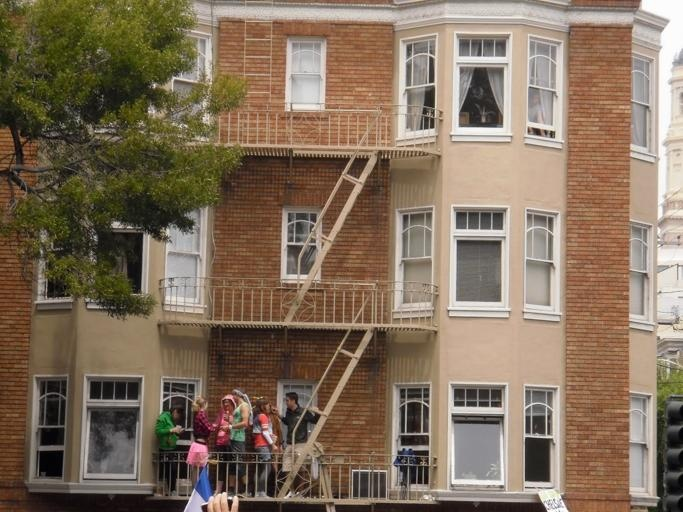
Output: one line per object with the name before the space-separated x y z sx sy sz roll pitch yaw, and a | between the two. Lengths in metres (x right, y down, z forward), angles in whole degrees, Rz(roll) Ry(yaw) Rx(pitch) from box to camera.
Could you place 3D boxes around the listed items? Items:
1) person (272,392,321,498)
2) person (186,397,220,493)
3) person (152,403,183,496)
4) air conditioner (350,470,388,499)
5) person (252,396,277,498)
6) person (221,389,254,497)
person | -0.936 4.339 46.291 0.896 2.503 0.760 -1 -8 1
person | -2.979 4.221 45.196 0.555 2.234 0.745 2 -6 -5
person | -3.883 4.500 46.403 0.607 2.040 0.955 2 -8 -5
air conditioner | 0.702 5.301 46.402 0.998 0.912 0.569 -1 -9 5
person | -1.676 4.423 45.888 0.507 2.169 0.998 2 -8 -2
person | -2.239 4.281 45.914 0.494 2.241 0.644 5 -8 -18
